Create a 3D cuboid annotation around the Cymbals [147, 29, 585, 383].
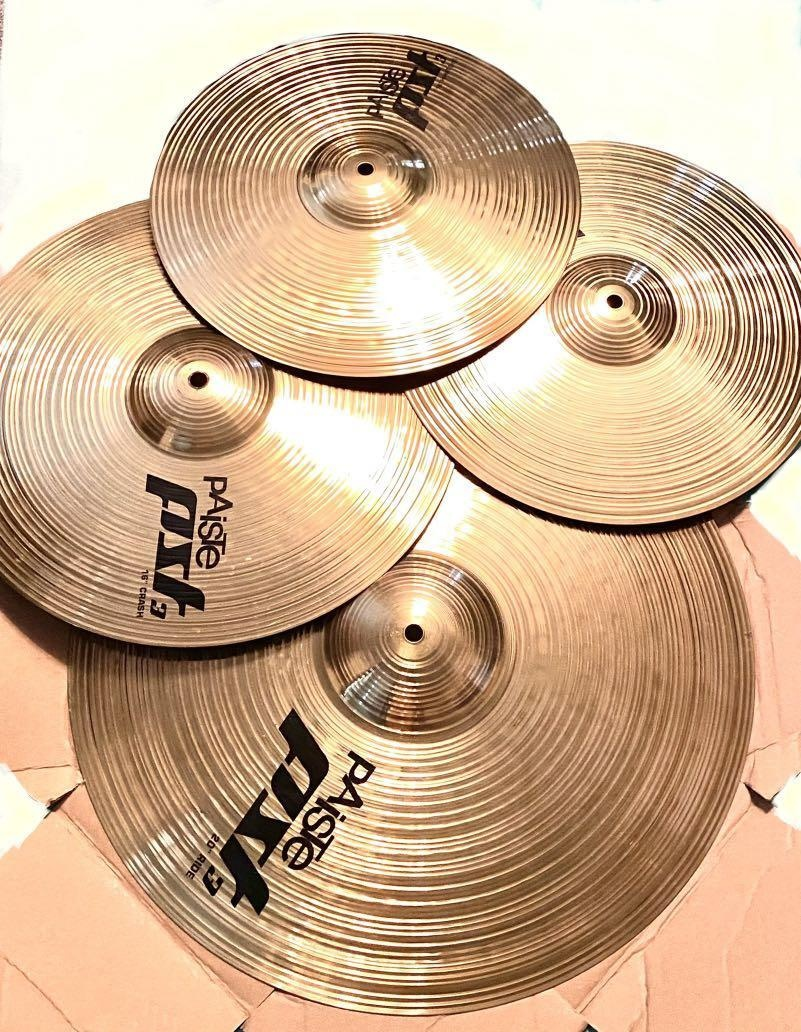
[{"bbox_3d":[-0.048,-0.480,1.514,0.591,0.571,0.089,29,-20,-3],"label":"Cymbals"}]
